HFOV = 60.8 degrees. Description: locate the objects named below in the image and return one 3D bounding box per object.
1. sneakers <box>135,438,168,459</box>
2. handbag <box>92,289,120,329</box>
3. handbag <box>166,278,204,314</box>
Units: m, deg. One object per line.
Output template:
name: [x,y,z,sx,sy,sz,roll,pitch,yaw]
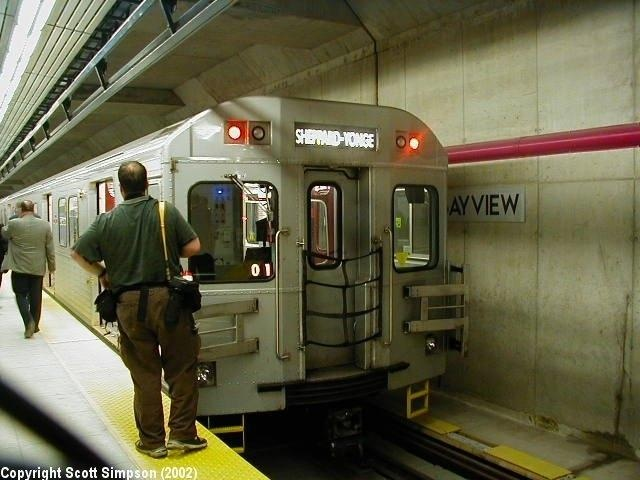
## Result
sneakers: [-1.407,1.698,4.544,0.284,0.112,0.106,11,9,39]
handbag: [-1.762,0.523,4.525,0.172,0.284,0.204,2,12,-7]
handbag: [-1.106,0.456,4.475,0.263,0.319,0.172,-5,4,-26]
